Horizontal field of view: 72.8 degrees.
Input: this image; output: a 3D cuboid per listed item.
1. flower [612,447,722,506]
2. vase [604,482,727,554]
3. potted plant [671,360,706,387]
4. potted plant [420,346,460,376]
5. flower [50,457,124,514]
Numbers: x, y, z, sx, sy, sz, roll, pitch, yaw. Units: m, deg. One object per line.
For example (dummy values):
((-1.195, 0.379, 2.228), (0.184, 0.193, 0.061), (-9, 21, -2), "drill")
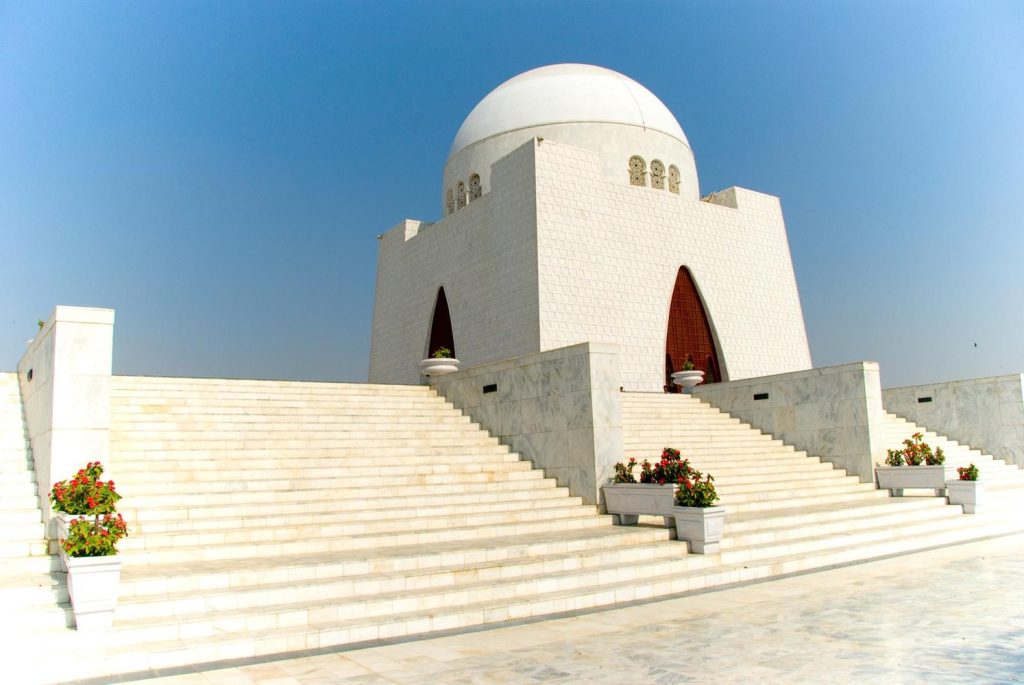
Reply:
((2.684, 2.293, 11.980), (1.116, 0.821, 1.685), (4, -8, -43), "flower")
((2.509, 2.769, 11.705), (0.491, 0.881, 2.287), (1, 1, -34), "vase")
((5.485, 1.020, 21.489), (1.016, 0.839, 0.993), (3, -6, -33), "potted plant")
((-2.274, 0.564, 21.367), (1.120, 0.760, 1.093), (1, -10, -9), "potted plant")
((-5.429, 1.862, 8.827), (0.862, 0.689, 0.841), (5, -1, -16), "flower")
